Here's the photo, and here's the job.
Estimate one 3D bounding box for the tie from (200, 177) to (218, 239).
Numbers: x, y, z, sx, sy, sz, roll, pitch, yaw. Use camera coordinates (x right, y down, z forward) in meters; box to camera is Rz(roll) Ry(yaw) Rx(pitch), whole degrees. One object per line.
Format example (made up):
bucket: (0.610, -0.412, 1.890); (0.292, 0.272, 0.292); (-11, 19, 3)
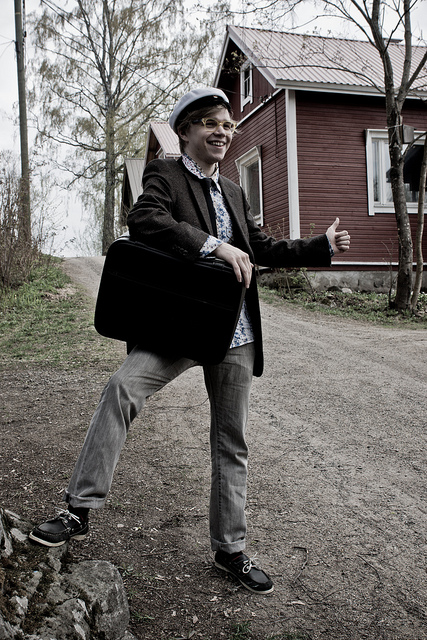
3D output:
tie: (-0.014, -0.465, 2.171); (0.046, 0.207, 0.140); (-3, 5, 16)

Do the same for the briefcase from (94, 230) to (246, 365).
briefcase: (-0.140, -0.084, 1.974); (0.432, 0.421, 0.159); (17, 0, -2)

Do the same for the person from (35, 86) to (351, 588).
person: (-0.097, 0.095, 2.099); (1.189, 2.081, 0.535); (-5, 10, -41)
